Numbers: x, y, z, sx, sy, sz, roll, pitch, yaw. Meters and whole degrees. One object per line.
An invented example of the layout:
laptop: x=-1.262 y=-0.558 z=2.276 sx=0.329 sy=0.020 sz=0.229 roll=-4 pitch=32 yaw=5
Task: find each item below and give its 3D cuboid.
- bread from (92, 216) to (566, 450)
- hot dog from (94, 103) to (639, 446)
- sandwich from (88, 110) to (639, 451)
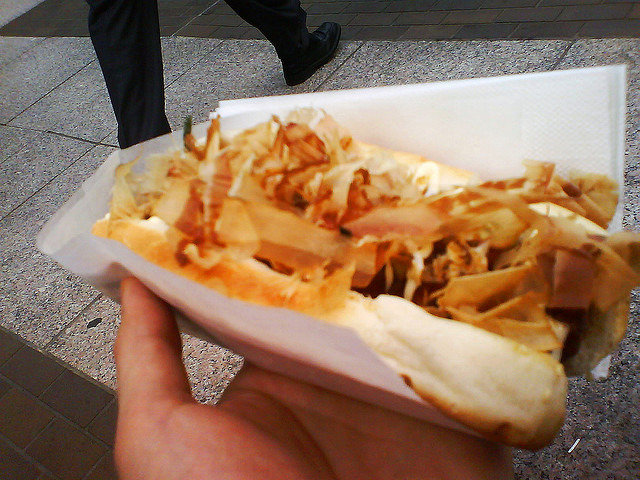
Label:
bread: x=-0.119 y=0.134 z=0.901 sx=0.947 sy=0.257 sz=0.206 roll=20 pitch=98 yaw=16
hot dog: x=0.025 y=0.070 z=0.925 sx=0.817 sy=0.302 sz=0.471 roll=18 pitch=45 yaw=12
sandwich: x=0.026 y=0.066 z=0.906 sx=0.789 sy=0.268 sz=0.462 roll=19 pitch=30 yaw=11
